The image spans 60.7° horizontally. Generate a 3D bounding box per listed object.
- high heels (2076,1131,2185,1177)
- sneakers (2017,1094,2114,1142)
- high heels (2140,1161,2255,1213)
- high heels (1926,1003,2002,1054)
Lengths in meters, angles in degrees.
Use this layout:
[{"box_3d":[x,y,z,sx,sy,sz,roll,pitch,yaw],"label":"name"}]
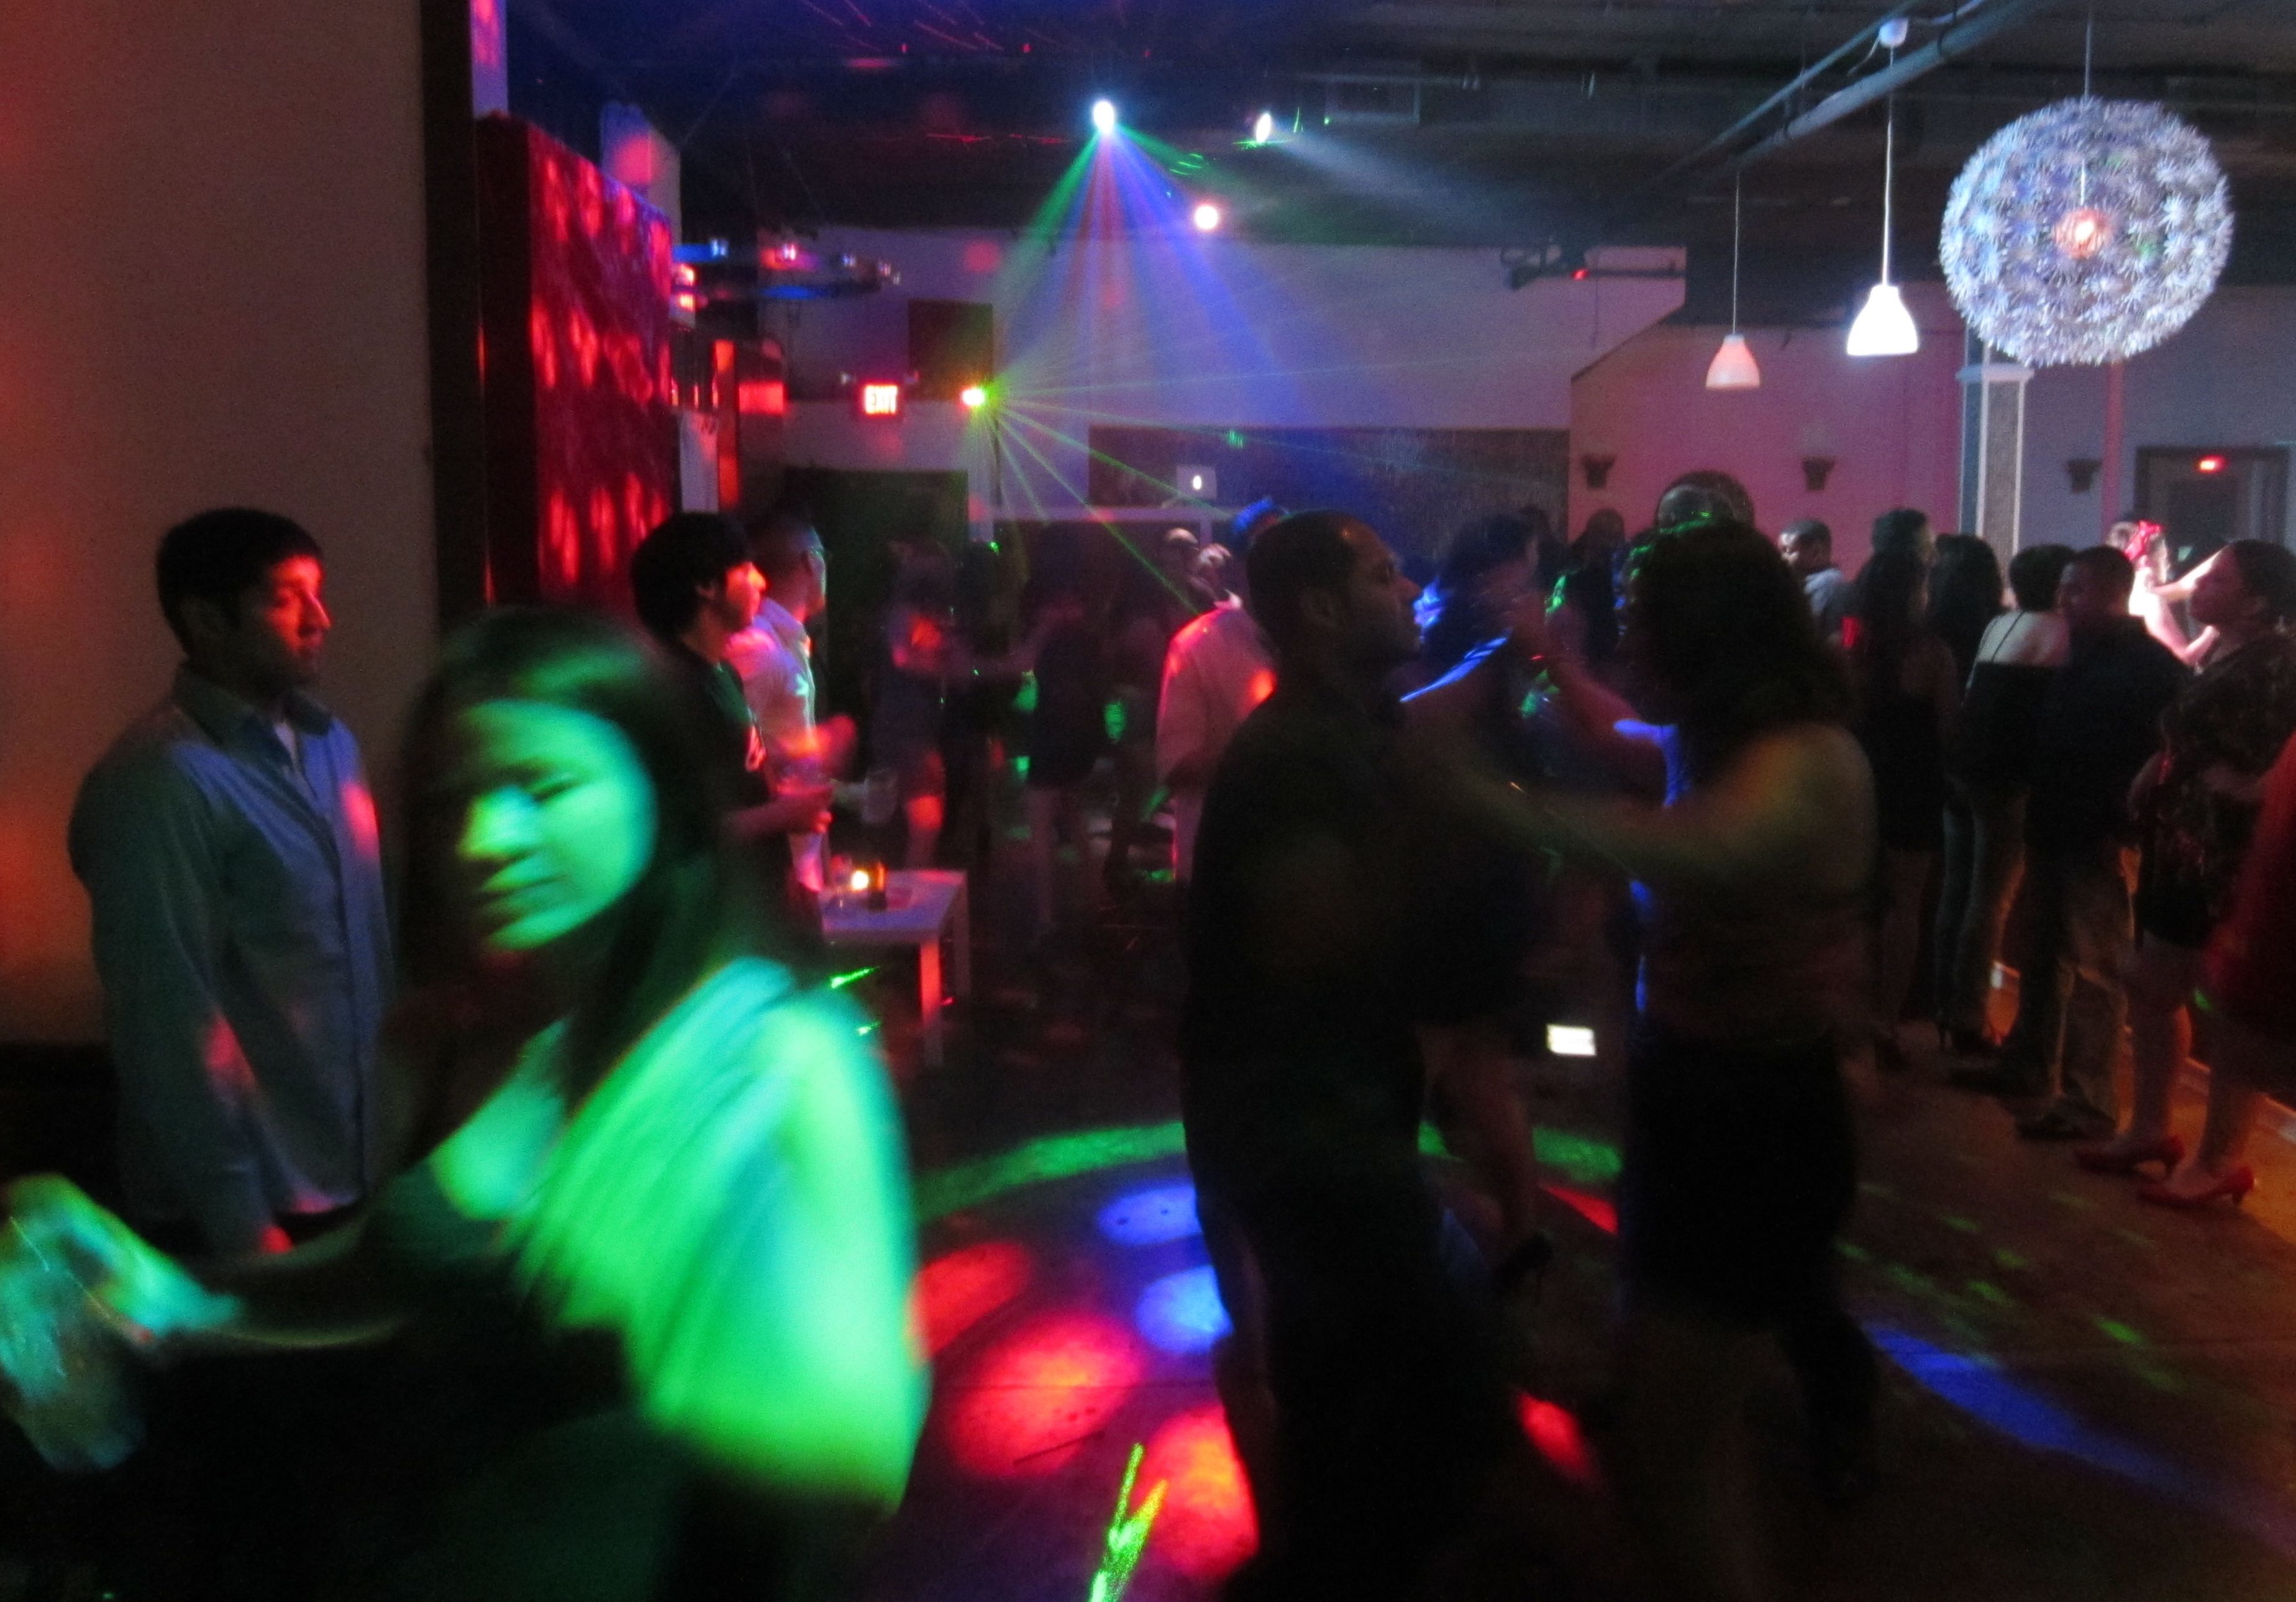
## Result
[{"box_3d":[3.078,1.099,6.123,0.266,0.117,0.141,2,1,7],"label":"high heels"},{"box_3d":[3.005,1.031,6.417,0.266,0.116,0.121,2,2,2],"label":"sneakers"},{"box_3d":[3.162,1.166,5.904,0.278,0.124,0.150,2,-1,8],"label":"high heels"},{"box_3d":[3.005,0.812,7.138,0.176,0.268,0.205,-4,-2,-35],"label":"high heels"}]
